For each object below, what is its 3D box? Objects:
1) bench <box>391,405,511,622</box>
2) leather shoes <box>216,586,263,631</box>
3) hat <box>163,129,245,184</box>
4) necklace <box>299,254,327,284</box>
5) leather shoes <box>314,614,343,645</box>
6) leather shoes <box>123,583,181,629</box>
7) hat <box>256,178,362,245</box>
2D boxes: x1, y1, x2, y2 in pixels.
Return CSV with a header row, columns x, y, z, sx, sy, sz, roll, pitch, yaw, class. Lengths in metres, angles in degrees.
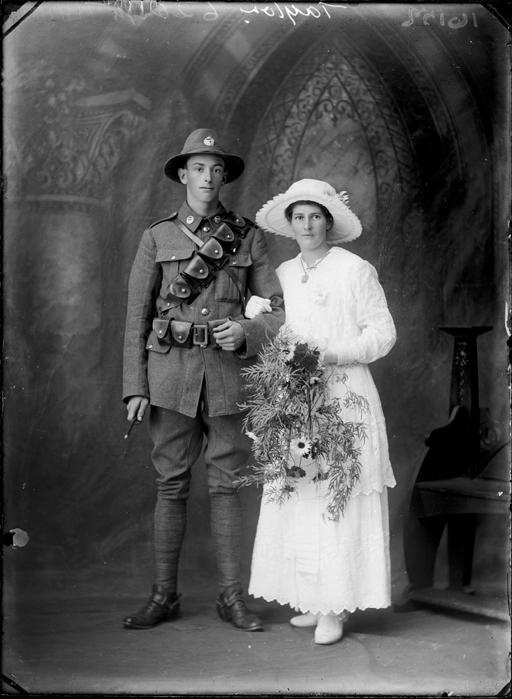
x,y,z,sx,sy,sz,roll,pitch,yaw,class
1.084,0.795,5.060,0.517,0.928,0.404,8,14,23,bench
-0.089,1.194,4.507,0.117,0.134,0.297,3,-6,-28,leather shoes
-0.239,-0.934,4.760,0.359,0.136,0.316,1,-15,-7,hat
0.262,-0.389,4.643,0.131,0.108,0.069,12,7,30,necklace
0.327,1.237,4.405,0.127,0.126,0.172,4,12,7,leather shoes
-0.465,1.201,4.545,0.131,0.151,0.346,-4,-7,44,leather shoes
0.254,-0.664,4.575,0.433,0.137,0.371,6,-28,-3,hat
